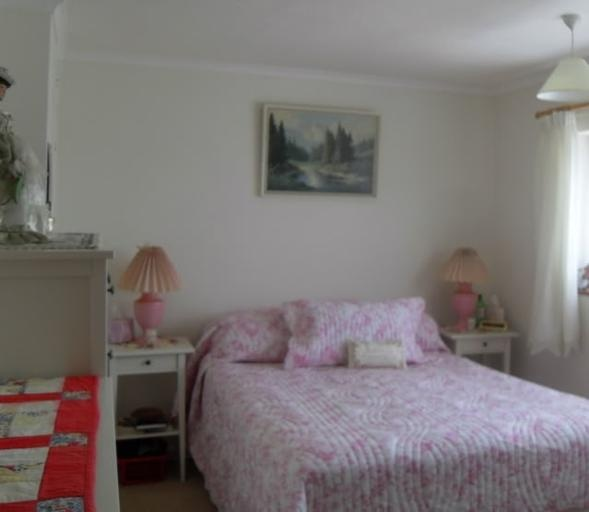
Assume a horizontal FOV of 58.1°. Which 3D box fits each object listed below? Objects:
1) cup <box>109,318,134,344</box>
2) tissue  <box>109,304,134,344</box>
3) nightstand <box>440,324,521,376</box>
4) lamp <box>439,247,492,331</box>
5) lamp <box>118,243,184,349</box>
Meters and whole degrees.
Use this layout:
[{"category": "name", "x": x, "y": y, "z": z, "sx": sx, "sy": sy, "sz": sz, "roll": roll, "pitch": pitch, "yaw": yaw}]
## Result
[{"category": "cup", "x": -1.016, "y": 0.438, "z": 3.123, "sx": 0.117, "sy": 0.103, "sz": 0.127, "roll": 0, "pitch": 0, "yaw": 0}, {"category": "tissue ", "x": -1.023, "y": 0.407, "z": 3.177, "sx": 0.175, "sy": 0.219, "sz": 0.182, "roll": 1, "pitch": 2, "yaw": -1}, {"category": "nightstand", "x": 1.288, "y": 0.583, "z": 3.671, "sx": 0.404, "sy": 0.457, "sz": 0.331, "roll": -1, "pitch": 3, "yaw": -12}, {"category": "lamp", "x": 1.299, "y": 0.212, "z": 3.947, "sx": 0.452, "sy": 0.871, "sz": 0.469, "roll": 1, "pitch": 4, "yaw": 22}, {"category": "lamp", "x": -0.862, "y": 0.218, "z": 3.159, "sx": 0.340, "sy": 0.580, "sz": 0.328, "roll": -1, "pitch": 5, "yaw": -14}]
